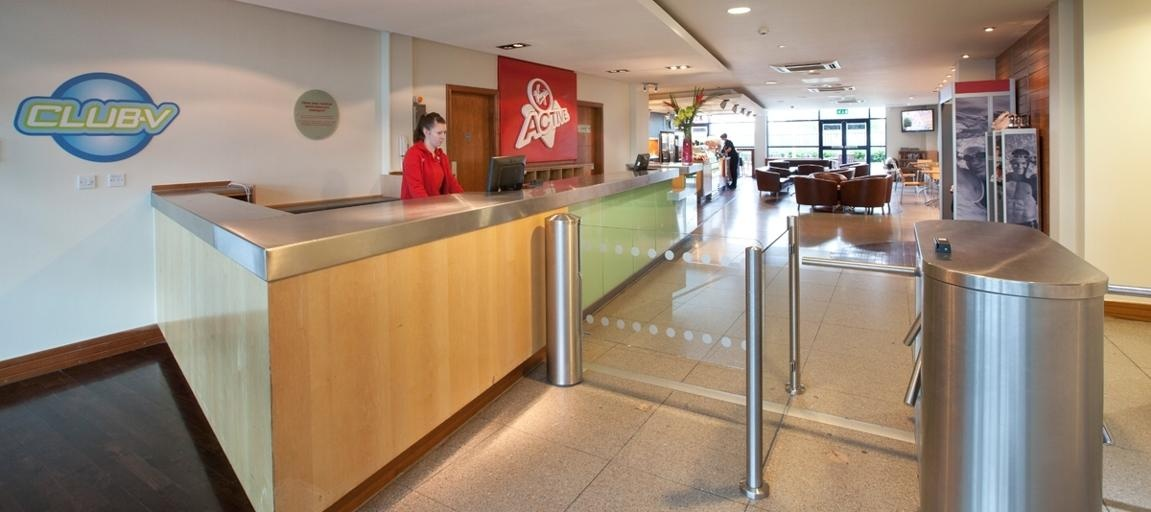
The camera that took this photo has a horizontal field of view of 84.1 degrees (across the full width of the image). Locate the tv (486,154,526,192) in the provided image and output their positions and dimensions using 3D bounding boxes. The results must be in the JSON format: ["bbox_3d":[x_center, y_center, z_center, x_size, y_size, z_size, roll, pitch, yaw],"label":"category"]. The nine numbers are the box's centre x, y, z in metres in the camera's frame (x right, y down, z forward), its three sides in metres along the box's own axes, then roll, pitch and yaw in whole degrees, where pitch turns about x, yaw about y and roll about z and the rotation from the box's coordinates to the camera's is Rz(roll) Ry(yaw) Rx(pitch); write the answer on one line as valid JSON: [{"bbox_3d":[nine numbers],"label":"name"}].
[{"bbox_3d":[-0.886,-1.067,8.448,0.225,0.452,0.631,24,23,31],"label":"tv"}]

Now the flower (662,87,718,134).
[{"bbox_3d":[2.591,-3.221,14.301,0.839,0.795,0.712,-6,6,32],"label":"flower"}]

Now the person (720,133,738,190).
[{"bbox_3d":[4.935,-3.054,20.515,0.485,1.722,1.188,-2,15,11],"label":"person"}]

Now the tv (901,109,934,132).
[{"bbox_3d":[12.674,-5.046,23.558,1.136,0.635,0.108,2,9,29],"label":"tv"}]
